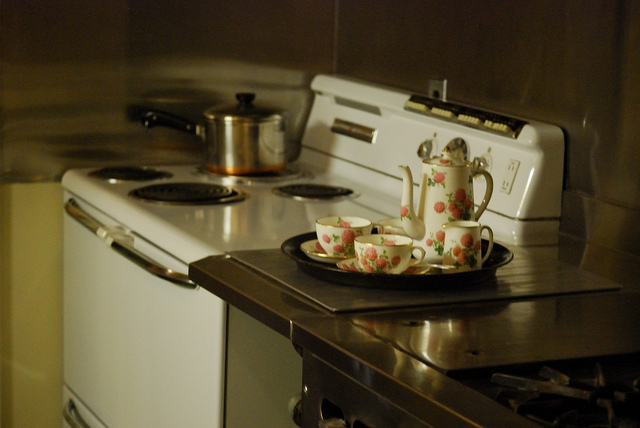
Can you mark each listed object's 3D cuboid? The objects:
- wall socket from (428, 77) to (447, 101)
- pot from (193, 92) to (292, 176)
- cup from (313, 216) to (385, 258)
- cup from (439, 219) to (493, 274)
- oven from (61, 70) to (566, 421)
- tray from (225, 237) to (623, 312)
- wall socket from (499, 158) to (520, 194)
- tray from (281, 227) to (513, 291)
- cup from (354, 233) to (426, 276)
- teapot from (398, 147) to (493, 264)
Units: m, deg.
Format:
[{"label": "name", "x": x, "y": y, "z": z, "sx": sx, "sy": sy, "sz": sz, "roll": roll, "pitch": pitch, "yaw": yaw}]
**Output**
[{"label": "wall socket", "x": 0.375, "y": -0.397, "z": 1.944, "sx": 0.027, "sy": 0.072, "sz": 0.079, "roll": -11, "pitch": 22, "yaw": -28}, {"label": "pot", "x": -0.234, "y": -0.297, "z": 2.119, "sx": 0.336, "sy": 0.283, "sz": 0.300, "roll": -16, "pitch": 22, "yaw": -40}, {"label": "cup", "x": 0.067, "y": 0.052, "z": 1.363, "sx": 0.160, "sy": 0.069, "sz": 0.123, "roll": 1, "pitch": 12, "yaw": 4}, {"label": "cup", "x": 0.309, "y": 0.074, "z": 1.267, "sx": 0.126, "sy": 0.111, "sz": 0.074, "roll": -2, "pitch": 2, "yaw": -22}, {"label": "oven", "x": -0.141, "y": 0.092, "z": 1.844, "sx": 1.210, "sy": 1.104, "sz": 1.106, "roll": -4, "pitch": 3, "yaw": -24}, {"label": "tray", "x": 0.194, "y": 0.128, "z": 1.261, "sx": 0.611, "sy": 0.004, "sz": 0.687, "roll": -5, "pitch": 13, "yaw": -20}, {"label": "wall socket", "x": 0.493, "y": -0.100, "z": 1.598, "sx": 0.025, "sy": 0.089, "sz": 0.050, "roll": -4, "pitch": 4, "yaw": -28}, {"label": "tray", "x": 0.158, "y": 0.098, "z": 1.321, "sx": 0.489, "sy": 0.112, "sz": 0.293, "roll": -2, "pitch": 3, "yaw": 16}, {"label": "cup", "x": 0.152, "y": 0.079, "z": 1.245, "sx": 0.153, "sy": 0.074, "sz": 0.109, "roll": -4, "pitch": 3, "yaw": -24}, {"label": "teapot", "x": 0.271, "y": -0.019, "z": 1.326, "sx": 0.245, "sy": 0.228, "sz": 0.150, "roll": -3, "pitch": 6, "yaw": -21}]
